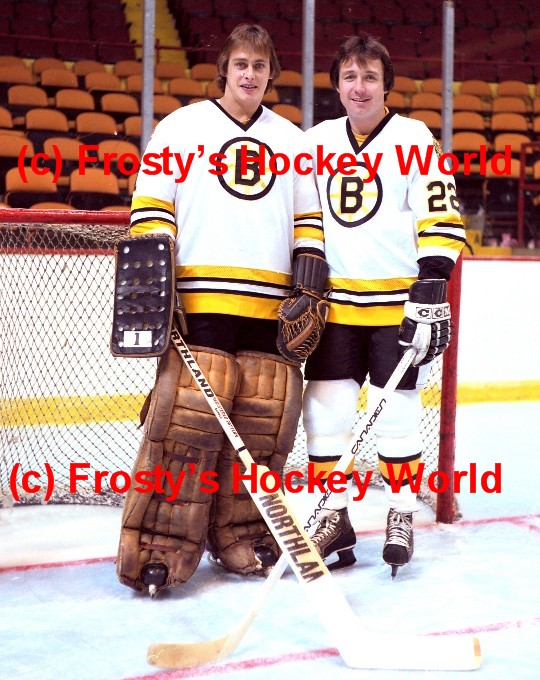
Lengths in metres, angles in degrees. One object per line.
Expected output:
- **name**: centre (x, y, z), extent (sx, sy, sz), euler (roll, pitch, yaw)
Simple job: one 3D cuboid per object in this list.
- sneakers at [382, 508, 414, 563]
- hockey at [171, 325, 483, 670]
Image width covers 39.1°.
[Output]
- **sneakers**: centre (0.331, 0.525, 1.997), extent (0.064, 0.066, 0.174), euler (-2, 2, 8)
- **hockey**: centre (0.088, 0.316, 1.647), extent (0.661, 0.643, 0.462), euler (0, 6, -2)
